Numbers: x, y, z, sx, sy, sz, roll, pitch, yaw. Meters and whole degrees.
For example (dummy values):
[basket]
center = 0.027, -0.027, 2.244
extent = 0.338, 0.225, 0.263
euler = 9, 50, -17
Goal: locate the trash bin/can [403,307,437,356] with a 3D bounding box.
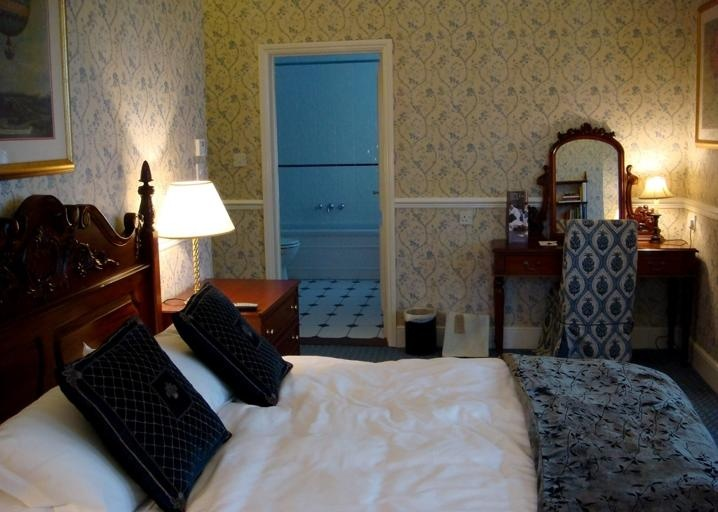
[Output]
[trash bin/can]
center = 0.555, 0.686, 4.823
extent = 0.279, 0.337, 0.281
euler = -4, 5, 2

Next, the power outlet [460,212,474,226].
[power outlet]
center = 0.965, -0.332, 4.773
extent = 0.106, 0.115, 0.028
euler = 3, 2, 4

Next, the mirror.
[mirror]
center = 1.909, -0.622, 4.551
extent = 0.598, 1.179, 0.046
euler = 0, -30, 26

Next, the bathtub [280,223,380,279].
[bathtub]
center = -0.444, -0.201, 7.577
extent = 1.426, 0.789, 0.810
euler = -1, 28, -6

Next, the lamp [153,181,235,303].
[lamp]
center = -1.084, -0.062, 3.533
extent = 0.416, 0.934, 0.455
euler = 7, 30, -2

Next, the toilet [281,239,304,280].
[toilet]
center = -0.905, 0.039, 6.753
extent = 0.403, 0.437, 0.385
euler = -4, 9, -20
